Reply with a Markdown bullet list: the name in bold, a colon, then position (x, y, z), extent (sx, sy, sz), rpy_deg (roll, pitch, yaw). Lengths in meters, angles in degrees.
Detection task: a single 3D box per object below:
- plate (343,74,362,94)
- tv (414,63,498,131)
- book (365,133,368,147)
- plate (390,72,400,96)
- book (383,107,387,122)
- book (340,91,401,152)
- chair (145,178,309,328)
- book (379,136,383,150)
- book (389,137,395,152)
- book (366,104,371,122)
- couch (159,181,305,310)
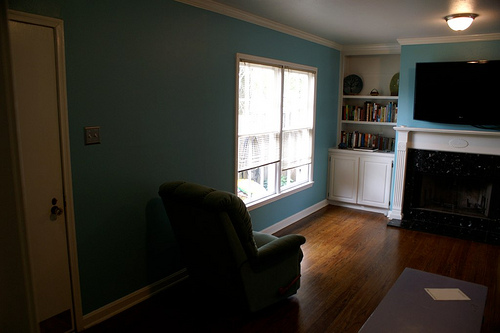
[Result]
- **plate**: position (1.922, -1.514, 6.624), extent (0.333, 0.345, 0.057), rpy_deg (4, 14, 14)
- **tv**: position (3.112, -1.048, 5.275), extent (0.991, 0.711, 0.076), rpy_deg (6, 14, 26)
- **book**: position (2.132, -0.476, 6.486), extent (0.033, 0.147, 0.142), rpy_deg (4, 6, 12)
- **plate**: position (2.533, -1.418, 6.216), extent (0.120, 0.380, 0.283), rpy_deg (4, 14, 14)
- **book**: position (2.418, -0.915, 6.323), extent (0.072, 0.253, 0.042), rpy_deg (12, 18, 40)
- **book**: position (2.218, -0.801, 6.437), extent (1.035, 0.981, 0.340), rpy_deg (6, 9, 43)
- **chair**: position (-0.239, 0.794, 3.893), extent (1.525, 1.430, 1.323), rpy_deg (-1, 1, -45)
- **book**: position (2.359, -0.407, 6.365), extent (0.057, 0.218, 0.084), rpy_deg (6, 14, 22)
- **book**: position (2.497, -0.358, 6.206), extent (0.069, 0.212, 0.164), rpy_deg (4, 14, 17)
- **book**: position (2.164, -0.967, 6.470), extent (0.063, 0.302, 0.069), rpy_deg (4, 14, 16)
- **couch**: position (-0.122, 0.755, 3.740), extent (1.152, 1.198, 1.424), rpy_deg (5, 7, 35)
